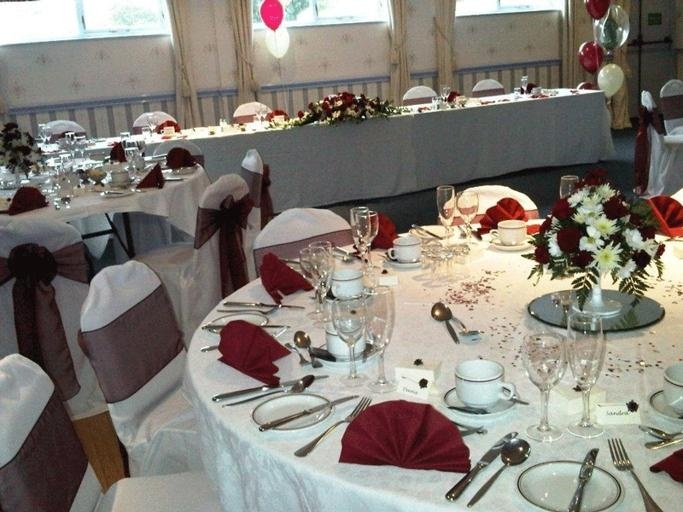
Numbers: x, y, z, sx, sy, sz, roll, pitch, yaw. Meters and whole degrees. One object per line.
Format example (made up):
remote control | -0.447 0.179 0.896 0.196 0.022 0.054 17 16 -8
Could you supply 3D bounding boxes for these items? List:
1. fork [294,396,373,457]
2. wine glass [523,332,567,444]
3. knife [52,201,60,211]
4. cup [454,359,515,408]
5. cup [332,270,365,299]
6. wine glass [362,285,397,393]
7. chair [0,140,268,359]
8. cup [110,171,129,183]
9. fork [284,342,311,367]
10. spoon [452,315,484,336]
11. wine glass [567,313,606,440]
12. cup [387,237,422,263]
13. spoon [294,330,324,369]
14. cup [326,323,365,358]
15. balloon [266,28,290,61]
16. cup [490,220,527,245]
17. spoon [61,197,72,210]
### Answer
fork | -0.017 0.370 1.083 0.025 0.024 0.193 18 25 30
wine glass | 0.430 0.261 1.049 0.071 0.217 0.126 8 20 42
knife | -1.720 -0.299 3.018 0.025 0.022 0.113 1 24 -21
cup | 0.313 0.277 1.110 0.117 0.082 0.090 13 24 42
cup | 0.019 0.086 1.604 0.093 0.077 0.076 -11 22 -19
wine glass | 0.090 0.192 1.228 0.074 0.252 0.103 -9 14 -12
chair | -1.143 -0.076 3.425 1.080 1.849 1.098 2 22 -4
cup | -1.541 -0.542 3.466 0.082 0.067 0.090 2 18 -1
fork | -0.120 0.274 1.404 0.029 0.024 0.149 -30 21 -6
spoon | 0.370 0.206 1.478 0.027 0.036 0.125 1 23 -18
wine glass | 0.535 0.228 1.098 0.071 0.236 0.221 1 17 26
cup | 0.254 -0.035 2.003 0.110 0.086 0.088 -15 28 -18
spoon | -0.096 0.262 1.394 0.037 0.032 0.179 -20 29 -14
cup | 0.006 0.239 1.356 0.084 0.062 0.092 -1 15 0
balloon | -1.011 -3.359 8.009 0.380 0.579 0.443 3 24 4
cup | 0.700 -0.100 2.071 0.086 0.082 0.114 3 6 32
spoon | -1.690 -0.321 3.074 0.062 0.018 0.066 20 44 23
